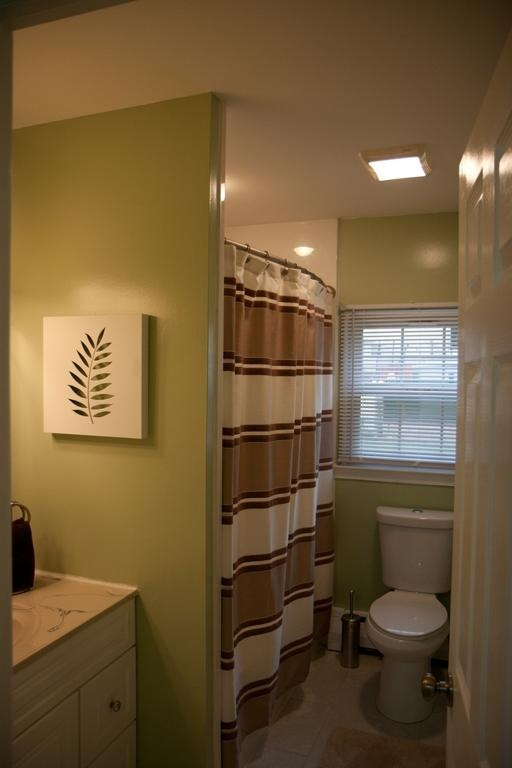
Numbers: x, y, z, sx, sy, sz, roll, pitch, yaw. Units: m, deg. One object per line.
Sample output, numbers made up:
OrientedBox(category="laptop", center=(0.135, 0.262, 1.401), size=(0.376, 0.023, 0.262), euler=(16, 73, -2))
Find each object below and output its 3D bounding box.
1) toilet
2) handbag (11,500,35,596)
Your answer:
OrientedBox(category="toilet", center=(0.717, 1.063, 2.719), size=(0.296, 0.824, 0.596), euler=(2, 5, 21))
OrientedBox(category="handbag", center=(-0.753, 0.559, 1.902), size=(0.063, 0.234, 0.078), euler=(0, 0, -31))
